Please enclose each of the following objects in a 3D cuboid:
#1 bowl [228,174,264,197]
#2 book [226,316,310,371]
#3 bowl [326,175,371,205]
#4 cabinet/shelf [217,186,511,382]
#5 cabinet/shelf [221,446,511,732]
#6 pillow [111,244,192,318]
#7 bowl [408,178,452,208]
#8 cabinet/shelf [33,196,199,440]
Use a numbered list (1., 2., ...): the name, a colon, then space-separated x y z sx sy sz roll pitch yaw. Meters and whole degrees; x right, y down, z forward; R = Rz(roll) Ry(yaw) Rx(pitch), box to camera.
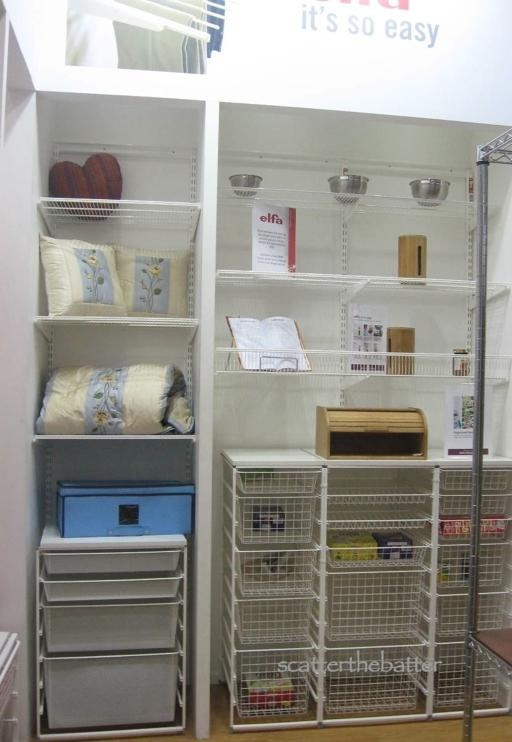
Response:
1. bowl: -0.044 -0.741 2.842 0.117 0.082 0.196 -1 -3 -3
2. book: 0.051 -0.109 2.737 0.317 0.231 0.267 -1 -3 -6
3. bowl: 0.376 -0.739 2.895 0.125 0.087 0.129 0 4 0
4. cabinet/shelf: 0.440 -0.295 2.876 1.198 0.669 0.541 -1 -3 -5
5. cabinet/shelf: 0.419 0.844 2.704 1.051 0.976 0.394 0 0 -8
6. pillow: -0.416 -0.344 2.744 0.309 0.325 0.054 0 -10 -23
7. bowl: 0.721 -0.740 2.887 0.121 0.071 0.124 0 18 0
8. cabinet/shelf: -0.544 -0.180 2.717 0.562 0.826 0.556 1 -2 -10
